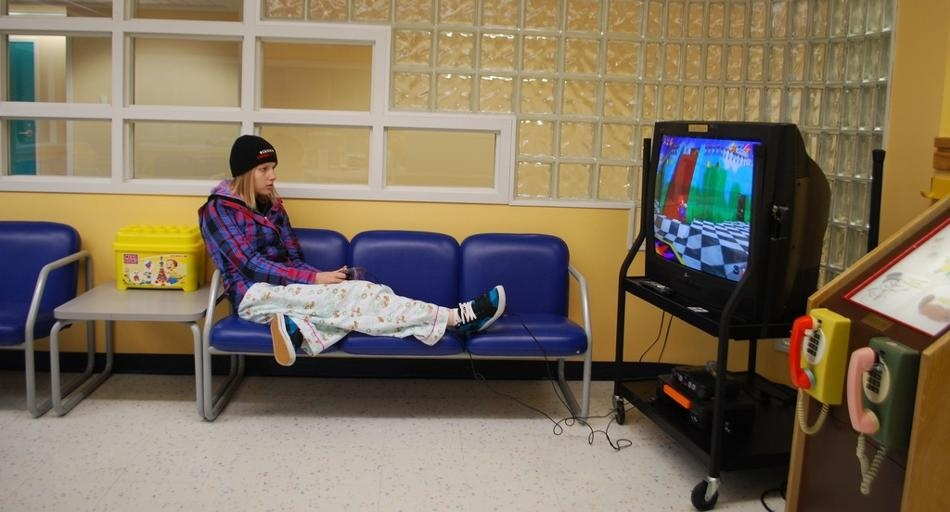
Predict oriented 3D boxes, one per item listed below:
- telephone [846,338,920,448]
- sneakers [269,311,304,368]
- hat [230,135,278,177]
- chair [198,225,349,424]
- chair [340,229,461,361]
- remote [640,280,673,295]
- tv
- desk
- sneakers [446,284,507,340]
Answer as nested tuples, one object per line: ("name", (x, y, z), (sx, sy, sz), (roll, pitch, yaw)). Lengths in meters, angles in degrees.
("telephone", (1.926, 0.657, 3.439), (0.295, 0.535, 0.156), (10, 17, 30))
("sneakers", (-1.212, 0.530, 4.613), (0.147, 0.377, 0.157), (-26, -15, 30))
("hat", (-1.468, -0.690, 4.949), (0.305, 0.243, 0.286), (1, 13, 3))
("chair", (-1.529, 0.426, 5.195), (1.208, 1.352, 1.238), (0, 0, -6))
("chair", (-0.461, 0.262, 5.039), (0.945, 0.813, 0.773), (1, -3, -1))
("remote", (1.144, 0.192, 4.610), (0.081, 0.033, 0.146), (-2, 13, -25))
("tv", (1.535, -0.204, 4.259), (0.730, 1.099, 1.224), (-2, 6, -25))
("desk", (-2.258, 0.597, 4.936), (1.039, 0.755, 0.669), (1, 14, -1))
("sneakers", (0.007, 0.355, 4.712), (0.216, 0.178, 0.499), (22, -51, -42))
